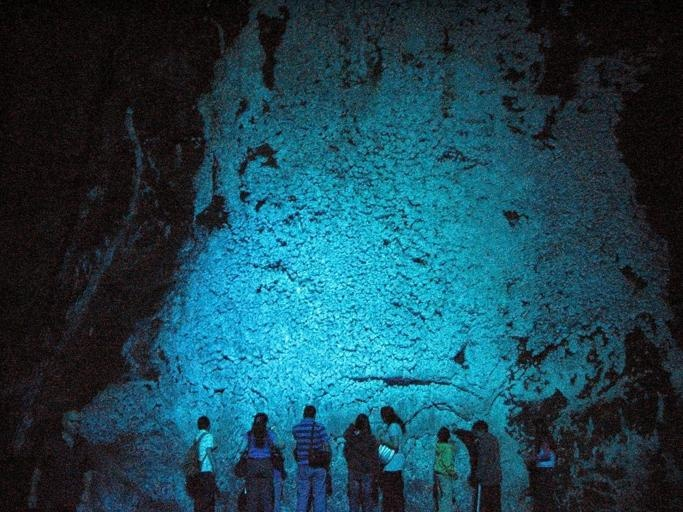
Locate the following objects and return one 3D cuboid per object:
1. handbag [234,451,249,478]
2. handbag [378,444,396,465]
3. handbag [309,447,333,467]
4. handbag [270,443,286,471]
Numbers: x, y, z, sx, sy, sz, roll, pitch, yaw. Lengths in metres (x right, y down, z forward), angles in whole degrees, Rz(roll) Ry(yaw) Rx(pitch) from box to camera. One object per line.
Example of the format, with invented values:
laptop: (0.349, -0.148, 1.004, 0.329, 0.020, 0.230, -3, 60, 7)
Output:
handbag: (-0.816, 1.725, 6.467, 0.138, 0.176, 0.189, 3, -11, -6)
handbag: (0.384, 1.647, 6.478, 0.152, 0.136, 0.147, 1, -13, 34)
handbag: (-0.170, 1.644, 6.364, 0.243, 0.164, 0.137, 1, 2, -3)
handbag: (-0.530, 1.671, 6.471, 0.150, 0.201, 0.064, 3, -1, -3)
